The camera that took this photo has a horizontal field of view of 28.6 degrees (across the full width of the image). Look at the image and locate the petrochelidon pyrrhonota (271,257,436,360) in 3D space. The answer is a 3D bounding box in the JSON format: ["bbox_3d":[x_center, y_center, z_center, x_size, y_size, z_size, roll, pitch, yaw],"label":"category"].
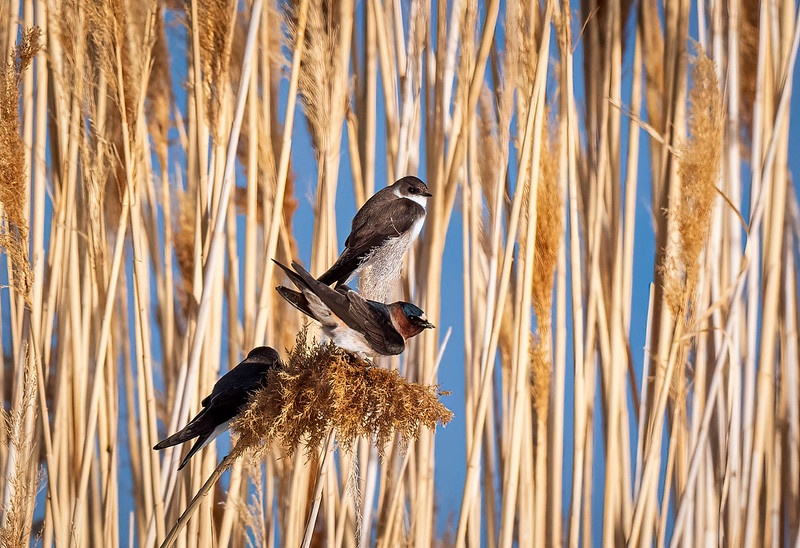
[{"bbox_3d":[-0.160,0.153,4.989,0.515,0.195,0.279,20,87,-7],"label":"petrochelidon pyrrhonota"}]

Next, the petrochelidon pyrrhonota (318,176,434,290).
[{"bbox_3d":[-0.104,-0.118,5.304,0.445,0.242,0.411,-2,88,-8],"label":"petrochelidon pyrrhonota"}]
